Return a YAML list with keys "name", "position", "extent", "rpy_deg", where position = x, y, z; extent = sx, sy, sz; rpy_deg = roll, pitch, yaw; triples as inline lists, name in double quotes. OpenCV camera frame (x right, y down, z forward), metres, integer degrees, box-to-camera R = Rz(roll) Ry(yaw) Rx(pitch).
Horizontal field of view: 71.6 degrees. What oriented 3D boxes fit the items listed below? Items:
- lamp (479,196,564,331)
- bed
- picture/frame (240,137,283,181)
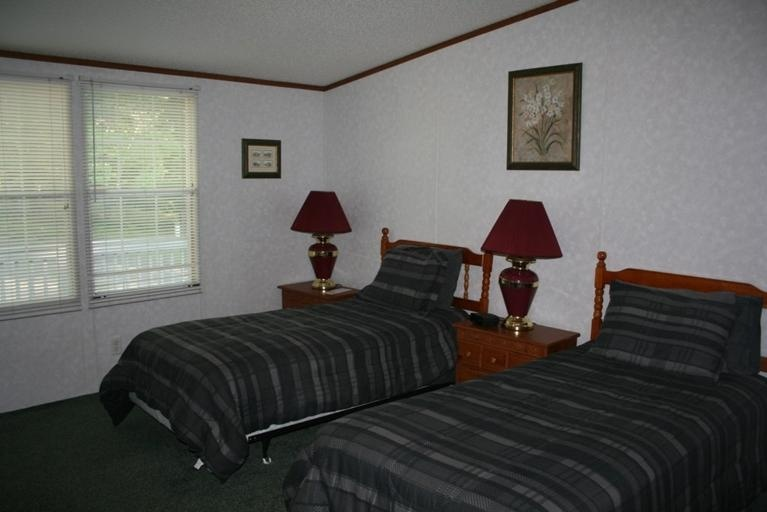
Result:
- name: "lamp"
  position: [1.105, 0.077, 4.315]
  extent: [0.624, 1.040, 0.326]
  rpy_deg: [3, 14, 9]
- name: "bed"
  position: [0.503, 0.541, 4.256]
  extent: [3.987, 1.206, 1.995]
  rpy_deg: [13, 18, 41]
- name: "picture/frame"
  position: [-1.350, -1.068, 5.784]
  extent: [0.504, 0.490, 0.040]
  rpy_deg: [-3, 4, -36]
